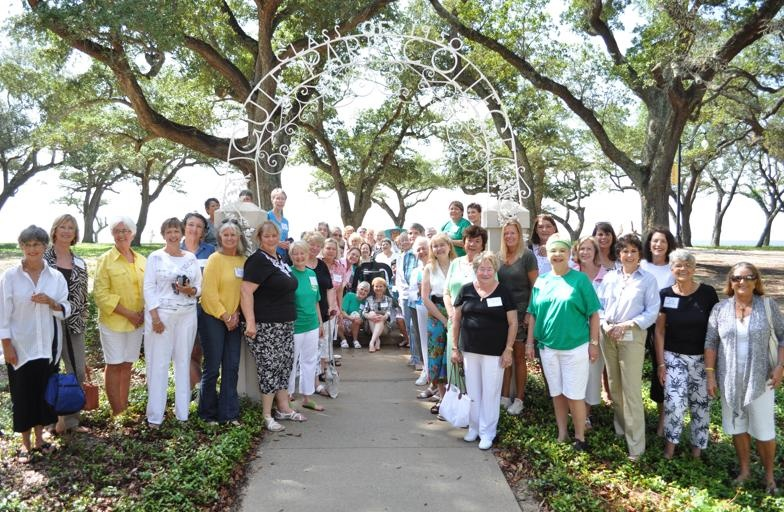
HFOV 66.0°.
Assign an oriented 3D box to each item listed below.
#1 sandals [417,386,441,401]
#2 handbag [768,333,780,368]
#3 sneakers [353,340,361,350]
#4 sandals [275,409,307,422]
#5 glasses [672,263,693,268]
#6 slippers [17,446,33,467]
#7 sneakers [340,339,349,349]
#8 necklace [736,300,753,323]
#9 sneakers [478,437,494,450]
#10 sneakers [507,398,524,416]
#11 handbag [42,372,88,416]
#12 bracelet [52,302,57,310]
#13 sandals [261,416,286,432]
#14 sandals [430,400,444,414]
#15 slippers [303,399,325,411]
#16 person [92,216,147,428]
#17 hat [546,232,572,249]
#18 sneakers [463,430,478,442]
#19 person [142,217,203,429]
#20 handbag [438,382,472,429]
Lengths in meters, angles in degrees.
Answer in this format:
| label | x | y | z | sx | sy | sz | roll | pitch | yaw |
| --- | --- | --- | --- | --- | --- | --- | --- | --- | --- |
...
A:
| label | x | y | z | sx | sy | sz | roll | pitch | yaw |
| --- | --- | --- | --- | --- | --- | --- | --- | --- | --- |
| sandals | 0.556 | 2.228 | 9.739 | 0.472 | 0.127 | 0.167 | 3 | -3 | -4 |
| handbag | 4.948 | 1.235 | 7.814 | 0.131 | 0.413 | 0.046 | 1 | -5 | -1 |
| sneakers | -0.737 | 1.826 | 12.373 | 0.150 | 0.152 | 0.399 | 0 | -5 | -10 |
| sandals | -1.516 | 2.371 | 9.001 | 0.467 | 0.169 | 0.178 | 2 | -2 | -4 |
| glasses | 3.943 | 0.127 | 8.192 | 0.257 | 0.052 | 0.098 | -2 | -7 | 23 |
| slippers | -4.836 | 2.615 | 7.913 | 0.207 | 0.193 | 0.130 | 2 | -6 | -16 |
| sneakers | -0.999 | 1.810 | 12.405 | 0.163 | 0.173 | 0.409 | 0 | -4 | -10 |
| necklace | 4.656 | 0.720 | 7.947 | 0.203 | 0.280 | 0.070 | -2 | -17 | 30 |
| sneakers | 1.327 | 2.595 | 8.367 | 0.254 | 0.166 | 0.121 | 3 | -6 | -22 |
| sneakers | 1.837 | 2.270 | 9.123 | 0.212 | 0.229 | 0.447 | -3 | -7 | 32 |
| handbag | -4.337 | 1.819 | 7.966 | 0.469 | 0.530 | 0.221 | 0 | -6 | 9 |
| bracelet | -4.512 | 0.674 | 8.025 | 0.074 | 0.072 | 0.021 | -2 | 2 | -19 |
| sandals | -1.704 | 2.417 | 8.685 | 0.288 | 0.114 | 0.165 | 9 | 4 | 29 |
| sandals | 0.689 | 2.300 | 9.156 | 0.248 | 0.164 | 0.622 | -1 | -6 | 7 |
| slippers | -1.251 | 2.306 | 9.412 | 0.398 | 0.168 | 0.132 | 6 | 6 | 18 |
| person | -3.863 | 0.855 | 8.484 | 0.496 | 2.758 | 0.566 | -3 | -7 | 33 |
| hat | 2.366 | -0.218 | 8.524 | 0.288 | 0.275 | 0.547 | -1 | -7 | 20 |
| sneakers | 1.110 | 2.547 | 8.554 | 0.196 | 0.150 | 0.122 | 0 | -6 | 7 |
| person | -3.113 | 0.918 | 8.443 | 0.766 | 2.898 | 0.517 | 3 | -6 | -23 |
| handbag | 0.930 | 2.098 | 8.745 | 0.276 | 0.686 | 0.716 | -7 | 13 | -31 |
